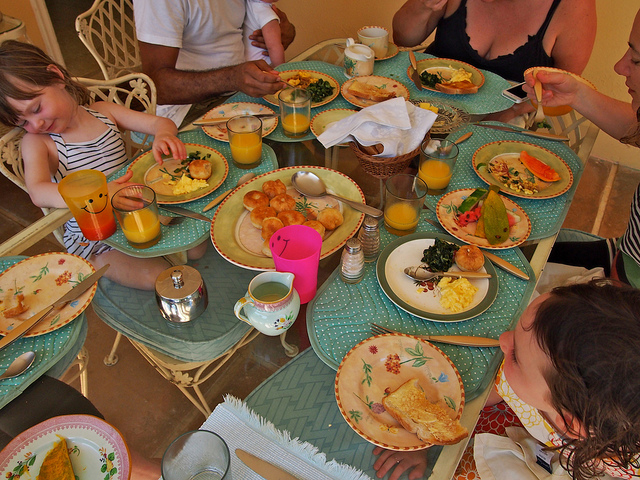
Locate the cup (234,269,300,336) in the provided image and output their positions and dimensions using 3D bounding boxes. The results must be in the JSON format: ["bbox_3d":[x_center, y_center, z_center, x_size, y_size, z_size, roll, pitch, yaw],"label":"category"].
[{"bbox_3d":[-0.162,0.217,1.452,0.181,0.169,0.141,-20,43,-26],"label":"cup"}]

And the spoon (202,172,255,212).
[{"bbox_3d":[-0.337,-0.171,1.756,0.033,0.016,0.209,11,46,31],"label":"spoon"}]

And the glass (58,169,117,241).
[{"bbox_3d":[-0.782,-0.112,1.648,0.142,0.213,0.136,-22,39,-26],"label":"glass"}]

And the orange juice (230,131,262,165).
[{"bbox_3d":[-0.283,-0.359,1.838,0.114,0.088,0.118,3,51,-1],"label":"orange juice"}]

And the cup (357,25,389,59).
[{"bbox_3d":[0.276,-1.022,2.493,0.156,0.123,0.151,-3,43,3],"label":"cup"}]

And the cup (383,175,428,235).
[{"bbox_3d":[0.297,-0.098,1.700,0.131,0.171,0.166,6,8,14],"label":"cup"}]

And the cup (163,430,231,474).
[{"bbox_3d":[-0.308,0.533,1.200,0.116,0.099,0.135,-9,54,-4],"label":"cup"}]

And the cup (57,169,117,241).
[{"bbox_3d":[-0.800,-0.120,1.656,0.163,0.210,0.168,0,38,0],"label":"cup"}]

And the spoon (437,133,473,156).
[{"bbox_3d":[0.532,-0.374,1.888,0.042,0.031,0.186,18,47,43],"label":"spoon"}]

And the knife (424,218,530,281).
[{"bbox_3d":[0.527,0.039,1.587,0.313,0.016,0.027,36,44,11],"label":"knife"}]

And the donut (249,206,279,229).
[{"bbox_3d":[-0.197,-0.088,1.656,0.076,0.037,0.076,-35,57,-27],"label":"donut"}]

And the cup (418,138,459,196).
[{"bbox_3d":[0.447,-0.248,1.818,0.108,0.146,0.141,9,18,19],"label":"cup"}]

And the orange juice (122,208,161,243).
[{"bbox_3d":[-0.585,-0.048,1.583,0.107,0.081,0.109,1,42,-3],"label":"orange juice"}]

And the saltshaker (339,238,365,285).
[{"bbox_3d":[0.104,0.072,1.509,0.098,0.171,0.100,-3,39,-1],"label":"saltshaker"}]

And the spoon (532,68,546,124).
[{"bbox_3d":[0.933,-0.622,2.047,0.051,0.269,0.032,-6,-1,-19],"label":"spoon"}]

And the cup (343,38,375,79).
[{"bbox_3d":[0.181,-0.890,2.352,0.143,0.143,0.199,-17,49,-17],"label":"cup"}]

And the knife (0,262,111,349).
[{"bbox_3d":[-0.827,0.194,1.478,0.052,0.020,0.450,35,53,15],"label":"knife"}]

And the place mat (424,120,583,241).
[{"bbox_3d":[0.702,-0.183,1.997,0.677,0.795,0.063,5,65,23],"label":"place mat"}]

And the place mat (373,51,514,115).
[{"bbox_3d":[0.605,-0.796,2.396,0.740,0.082,0.710,-19,19,-10],"label":"place mat"}]

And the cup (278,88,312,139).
[{"bbox_3d":[-0.103,-0.526,1.987,0.129,0.152,0.150,-1,52,-4],"label":"cup"}]

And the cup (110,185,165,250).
[{"bbox_3d":[-0.607,-0.082,1.614,0.140,0.120,0.210,-20,56,-17],"label":"cup"}]

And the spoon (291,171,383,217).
[{"bbox_3d":[0.057,-0.161,1.743,0.372,0.044,0.094,28,56,17],"label":"spoon"}]

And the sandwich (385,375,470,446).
[{"bbox_3d":[0.257,0.466,1.280,0.229,0.053,0.218,1,38,-37],"label":"sandwich"}]
